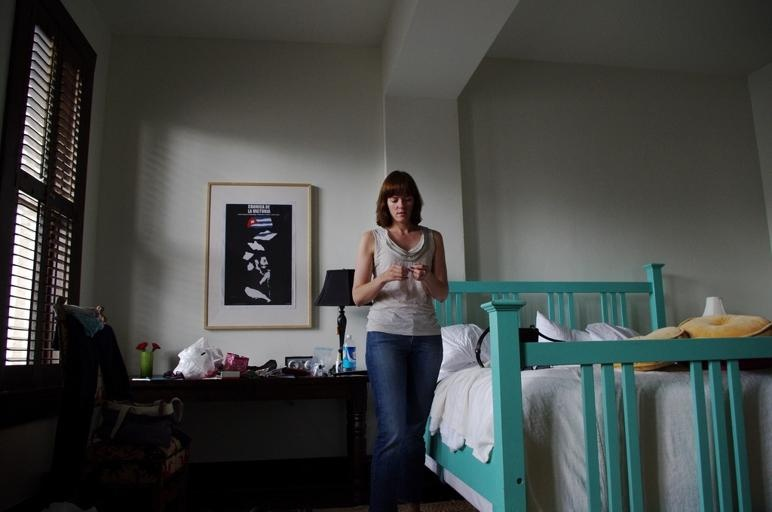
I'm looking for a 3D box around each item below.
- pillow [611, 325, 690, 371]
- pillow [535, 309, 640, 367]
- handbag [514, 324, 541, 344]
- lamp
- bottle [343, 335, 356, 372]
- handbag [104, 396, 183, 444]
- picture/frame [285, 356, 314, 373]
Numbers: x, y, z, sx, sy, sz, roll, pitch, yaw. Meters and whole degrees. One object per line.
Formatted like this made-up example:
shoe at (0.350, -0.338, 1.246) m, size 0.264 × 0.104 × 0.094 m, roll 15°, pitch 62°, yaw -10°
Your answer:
pillow at (1.456, 0.435, 2.982) m, size 0.312 × 0.111 × 0.316 m, roll -16°, pitch -17°, yaw -39°
pillow at (1.480, 0.559, 4.070) m, size 0.520 × 0.185 × 0.477 m, roll 0°, pitch -16°, yaw 0°
handbag at (0.723, 0.394, 2.768) m, size 0.136 × 0.133 × 0.076 m, roll 2°, pitch -10°, yaw -13°
lamp at (-0.358, 0.512, 4.339) m, size 0.384 × 0.769 × 0.426 m, roll -4°, pitch -3°, yaw 19°
bottle at (-0.262, 0.773, 4.317) m, size 0.123 × 0.304 × 0.123 m, roll 0°, pitch -14°, yaw 0°
handbag at (-1.554, 1.039, 3.477) m, size 0.299 × 0.129 × 0.315 m, roll -1°, pitch -4°, yaw 9°
picture/frame at (-0.670, 0.832, 4.263) m, size 0.219 × 0.091 × 0.402 m, roll 1°, pitch -4°, yaw -9°
